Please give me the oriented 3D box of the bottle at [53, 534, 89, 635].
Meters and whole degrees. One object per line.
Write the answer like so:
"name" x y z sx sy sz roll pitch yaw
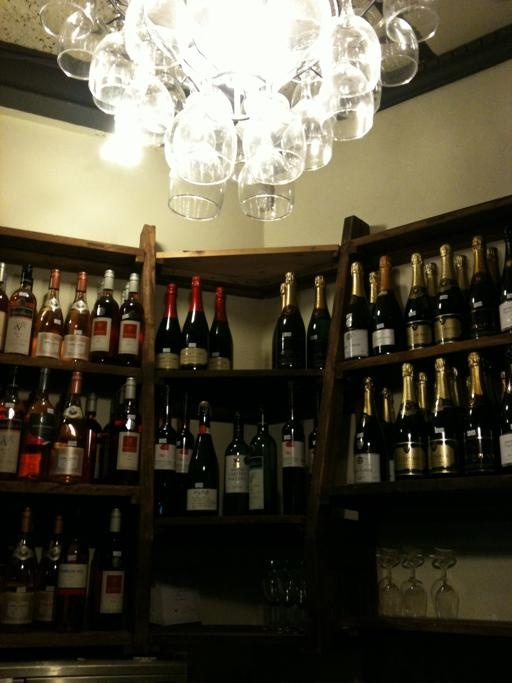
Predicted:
"bottle" -0.508 0.671 1.609 0.088 0.225 0.240 6 -14 -15

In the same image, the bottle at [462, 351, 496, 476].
"bottle" 0.553 0.179 1.430 0.077 0.295 0.148 -3 -15 22

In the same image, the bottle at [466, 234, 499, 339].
"bottle" 0.618 -0.134 1.572 0.074 0.299 0.190 -3 -15 21

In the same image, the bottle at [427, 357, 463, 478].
"bottle" 0.491 0.199 1.504 0.083 0.299 0.164 -3 -15 20

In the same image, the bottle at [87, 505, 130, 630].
"bottle" -0.412 0.646 1.649 0.111 0.327 0.232 6 -14 -14

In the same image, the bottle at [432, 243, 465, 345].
"bottle" 0.543 -0.121 1.620 0.082 0.319 0.240 -3 -15 21

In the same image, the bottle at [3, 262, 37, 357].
"bottle" -0.697 -0.084 1.717 0.082 0.289 0.190 8 -15 -22

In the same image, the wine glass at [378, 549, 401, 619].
"wine glass" 0.365 0.664 1.584 0.061 0.192 0.215 0 -14 11

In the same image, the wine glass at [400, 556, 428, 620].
"wine glass" 0.419 0.637 1.530 0.069 0.165 0.194 -1 -14 14

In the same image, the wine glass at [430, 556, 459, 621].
"wine glass" 0.487 0.623 1.489 0.070 0.177 0.229 -2 -15 17
